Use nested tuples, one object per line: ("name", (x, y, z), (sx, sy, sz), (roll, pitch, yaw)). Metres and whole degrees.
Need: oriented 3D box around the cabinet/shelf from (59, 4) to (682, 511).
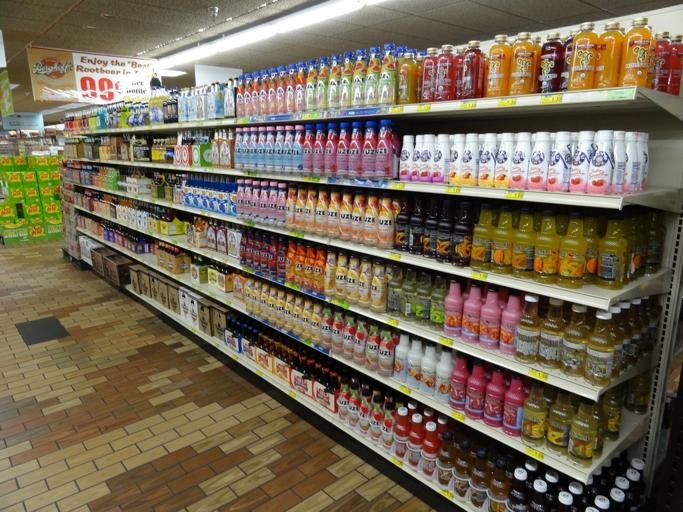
("cabinet/shelf", (-0.865, -1.353, 5.445), (1.929, 3.041, 8.385), (-18, 25, -42))
